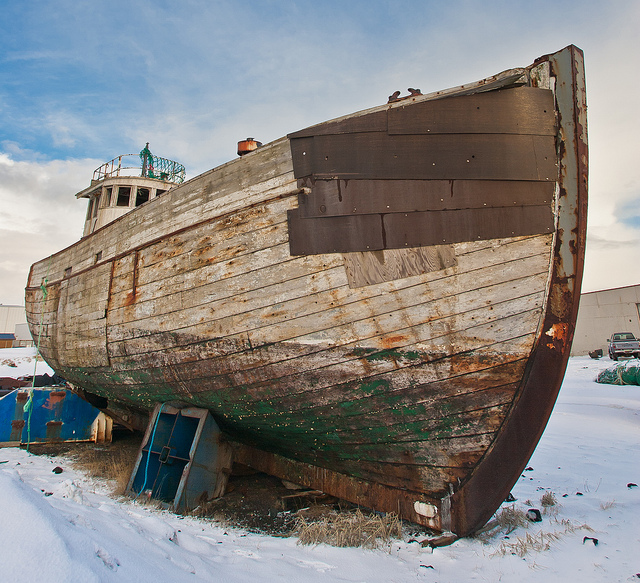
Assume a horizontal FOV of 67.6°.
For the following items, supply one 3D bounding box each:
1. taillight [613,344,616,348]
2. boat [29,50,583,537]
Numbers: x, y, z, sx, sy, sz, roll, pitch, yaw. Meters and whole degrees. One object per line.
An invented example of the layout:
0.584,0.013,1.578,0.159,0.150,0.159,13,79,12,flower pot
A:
9.977,1.845,16.195,0.052,0.124,0.234,-4,-5,25,taillight
-0.098,0.139,4.177,4.380,3.726,0.926,-4,-6,29,boat
